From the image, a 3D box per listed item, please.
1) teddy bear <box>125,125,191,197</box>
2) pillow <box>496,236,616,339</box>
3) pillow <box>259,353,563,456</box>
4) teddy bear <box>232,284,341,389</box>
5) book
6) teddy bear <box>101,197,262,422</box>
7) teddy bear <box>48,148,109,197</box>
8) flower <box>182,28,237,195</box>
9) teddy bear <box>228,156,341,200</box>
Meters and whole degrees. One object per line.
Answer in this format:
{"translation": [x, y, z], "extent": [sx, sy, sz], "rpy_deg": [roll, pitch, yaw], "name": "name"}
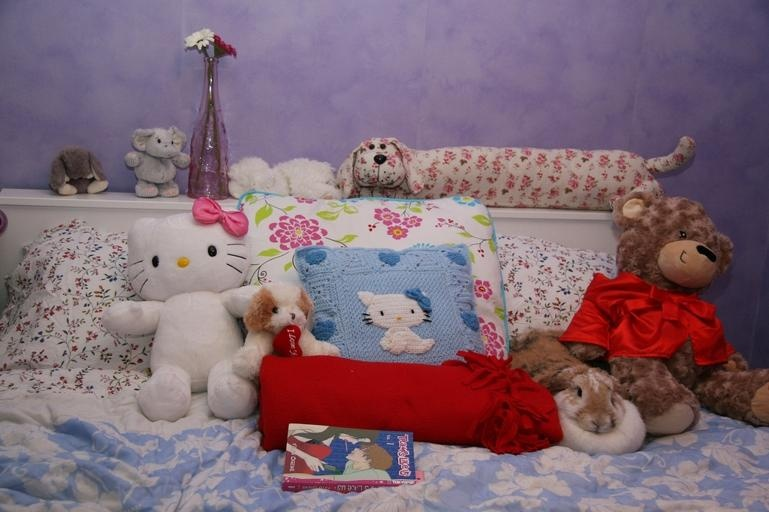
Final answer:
{"translation": [-1.025, -0.429, 2.689], "extent": [0.193, 0.322, 0.301], "rpy_deg": [24, 22, 35], "name": "teddy bear"}
{"translation": [0.725, 0.170, 2.584], "extent": [0.507, 0.218, 0.747], "rpy_deg": [8, 36, 10], "name": "pillow"}
{"translation": [0.065, 0.465, 1.945], "extent": [0.689, 0.206, 0.437], "rpy_deg": [1, 19, -6], "name": "pillow"}
{"translation": [-0.386, 0.277, 2.155], "extent": [0.389, 0.364, 0.320], "rpy_deg": [4, -2, -23], "name": "teddy bear"}
{"translation": [-0.102, 0.624, 1.827], "extent": [0.391, 0.124, 0.159], "rpy_deg": [1, 22, 0], "name": "book"}
{"translation": [-0.695, 0.138, 2.305], "extent": [0.743, 0.862, 0.712], "rpy_deg": [-2, 5, -13], "name": "teddy bear"}
{"translation": [-1.372, -0.383, 2.666], "extent": [0.235, 0.207, 0.135], "rpy_deg": [-14, 26, -39], "name": "teddy bear"}
{"translation": [-0.779, -0.642, 2.692], "extent": [0.247, 0.714, 0.368], "rpy_deg": [-3, 23, -7], "name": "flower"}
{"translation": [-0.450, -0.351, 2.705], "extent": [0.386, 0.165, 0.235], "rpy_deg": [1, 40, -20], "name": "teddy bear"}
